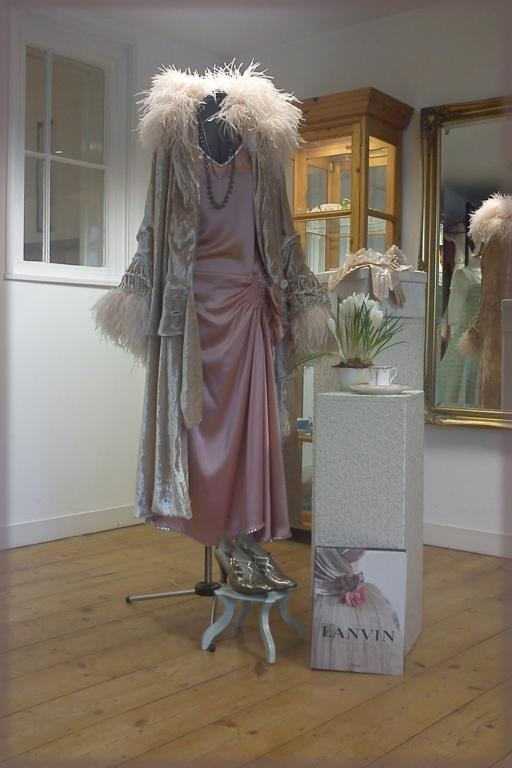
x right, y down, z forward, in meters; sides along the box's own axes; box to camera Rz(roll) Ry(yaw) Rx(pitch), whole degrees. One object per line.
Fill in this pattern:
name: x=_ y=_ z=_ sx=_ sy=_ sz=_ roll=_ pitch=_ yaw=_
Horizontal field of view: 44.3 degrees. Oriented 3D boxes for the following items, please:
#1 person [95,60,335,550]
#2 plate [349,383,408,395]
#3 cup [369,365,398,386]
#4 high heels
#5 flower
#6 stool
person: x=-0.132 y=-0.234 z=1.927 sx=0.712 sy=1.453 sz=0.320 roll=0 pitch=-2 yaw=6
plate: x=0.323 y=0.015 z=1.662 sx=0.148 sy=0.031 sz=0.148 roll=0 pitch=-1 yaw=11
cup: x=0.346 y=-0.022 z=1.704 sx=0.064 sy=0.052 sz=0.052 roll=2 pitch=-2 yaw=-22
high heels: x=-0.017 y=0.483 z=1.732 sx=0.117 sy=0.085 sz=0.195 roll=4 pitch=3 yaw=-38
flower: x=0.287 y=-0.132 z=1.804 sx=0.223 sy=0.192 sz=0.203 roll=10 pitch=-12 yaw=-39
stool: x=-0.011 y=0.657 z=1.762 sx=0.291 sy=0.152 sz=0.292 roll=4 pitch=-4 yaw=-19
